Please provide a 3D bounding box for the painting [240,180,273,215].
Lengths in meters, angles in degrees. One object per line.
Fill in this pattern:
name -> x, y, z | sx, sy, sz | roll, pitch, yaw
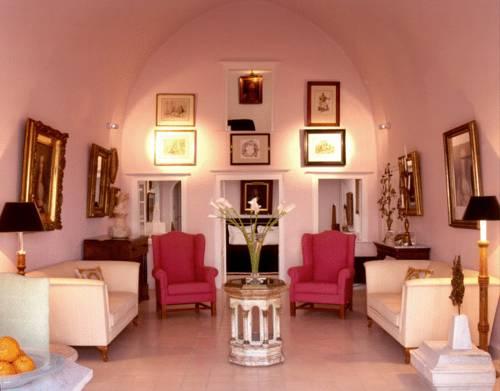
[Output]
painting -> 0.211, 0.023, 11.446 | 0.878, 1.197, 0.110 | 1, -2, 6

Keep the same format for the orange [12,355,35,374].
orange -> -1.402, 1.036, 2.472 | 0.078, 0.092, 0.084 | -8, -16, -10

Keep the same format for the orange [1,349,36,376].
orange -> -1.435, 1.011, 2.462 | 0.113, 0.135, 0.121 | 2, -2, 8

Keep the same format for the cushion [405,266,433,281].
cushion -> 2.368, 1.095, 5.625 | 0.333, 0.121, 0.375 | -4, 4, 18

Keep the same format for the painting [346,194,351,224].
painting -> 2.812, 0.392, 11.466 | 0.119, 0.834, 0.595 | 0, -1, 12

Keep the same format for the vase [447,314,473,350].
vase -> 2.063, 1.328, 3.918 | 0.218, 0.337, 0.143 | -1, -1, 20

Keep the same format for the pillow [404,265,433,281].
pillow -> 2.363, 1.099, 5.630 | 0.262, 0.091, 0.281 | -3, 6, 24

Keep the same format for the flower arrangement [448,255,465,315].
flower arrangement -> 2.070, 0.902, 4.014 | 0.127, 0.628, 0.341 | -1, -1, 28

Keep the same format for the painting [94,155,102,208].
painting -> -2.740, -0.253, 7.206 | 0.075, 0.930, 0.247 | 0, -1, -11

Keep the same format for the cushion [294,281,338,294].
cushion -> 1.087, 1.518, 6.605 | 0.703, 0.174, 0.210 | 0, -1, 14

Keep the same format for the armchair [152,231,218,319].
armchair -> -1.174, 1.336, 6.960 | 1.044, 1.580, 0.995 | 1, -11, -22

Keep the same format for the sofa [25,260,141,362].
sofa -> -2.210, 1.451, 5.450 | 1.104, 1.039, 1.744 | 0, -1, -5

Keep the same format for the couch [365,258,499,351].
couch -> 2.182, 1.315, 4.738 | 0.588, 0.667, 1.265 | 1, -1, 6

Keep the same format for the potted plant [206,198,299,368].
potted plant -> 0.096, 1.104, 4.964 | 0.812, 1.699, 0.967 | 3, -6, -21

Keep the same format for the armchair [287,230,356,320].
armchair -> 1.331, 1.328, 7.094 | 1.216, 1.923, 1.240 | -1, -8, 17
